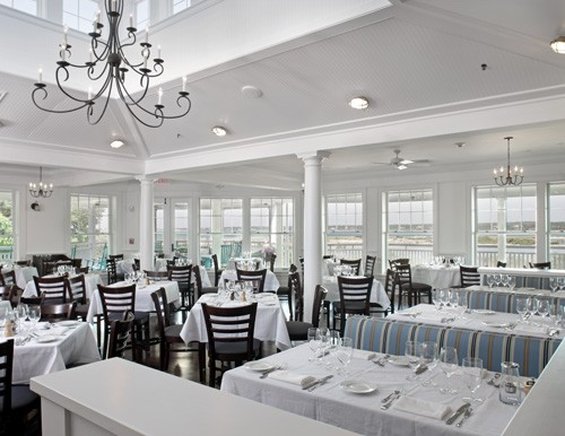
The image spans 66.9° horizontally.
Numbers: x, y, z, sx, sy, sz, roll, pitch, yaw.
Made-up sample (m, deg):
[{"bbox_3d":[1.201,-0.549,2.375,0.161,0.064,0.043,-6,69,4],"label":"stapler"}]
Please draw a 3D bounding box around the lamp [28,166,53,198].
[{"bbox_3d":[-5.988,-0.850,10.651,0.587,0.675,0.792,0,-2,-36],"label":"lamp"}]

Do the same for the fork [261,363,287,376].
[{"bbox_3d":[-0.046,1.056,2.979,0.052,0.040,0.338,10,1,18],"label":"fork"}]

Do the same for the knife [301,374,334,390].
[{"bbox_3d":[0.218,1.046,2.758,0.059,0.022,0.285,7,2,40],"label":"knife"}]

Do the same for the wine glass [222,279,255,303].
[{"bbox_3d":[-0.575,0.939,5.506,0.234,0.163,0.354,1,0,-31],"label":"wine glass"}]

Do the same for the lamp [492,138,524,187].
[{"bbox_3d":[4.546,-1.129,8.555,0.475,0.928,0.557,2,-6,-6],"label":"lamp"}]

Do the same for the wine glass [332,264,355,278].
[{"bbox_3d":[1.096,0.974,7.758,0.302,0.318,0.317,-1,-3,23],"label":"wine glass"}]

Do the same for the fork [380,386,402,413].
[{"bbox_3d":[0.658,1.088,2.578,0.053,0.036,0.242,4,4,24],"label":"fork"}]
